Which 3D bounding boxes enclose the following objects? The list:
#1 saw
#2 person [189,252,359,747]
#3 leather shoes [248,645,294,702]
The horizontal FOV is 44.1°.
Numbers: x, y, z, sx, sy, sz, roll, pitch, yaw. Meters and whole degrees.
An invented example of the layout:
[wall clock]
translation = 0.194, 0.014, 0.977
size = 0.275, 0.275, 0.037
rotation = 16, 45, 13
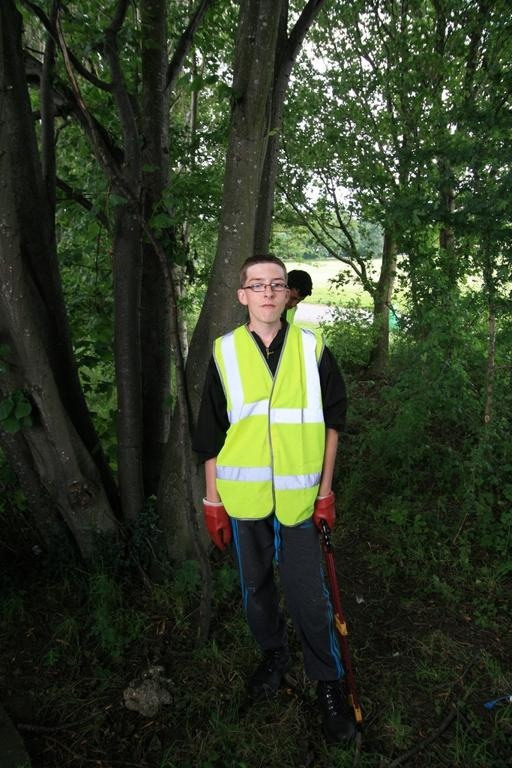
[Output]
[saw]
translation = 0.385, 1.066, 2.838
size = 0.308, 0.774, 0.483
rotation = 5, 13, 2
[person]
translation = 0.116, 0.453, 2.835
size = 0.722, 1.961, 0.471
rotation = 1, 8, 18
[leather shoes]
translation = 0.064, 1.394, 3.063
size = 0.118, 0.171, 0.278
rotation = 8, 2, 30
